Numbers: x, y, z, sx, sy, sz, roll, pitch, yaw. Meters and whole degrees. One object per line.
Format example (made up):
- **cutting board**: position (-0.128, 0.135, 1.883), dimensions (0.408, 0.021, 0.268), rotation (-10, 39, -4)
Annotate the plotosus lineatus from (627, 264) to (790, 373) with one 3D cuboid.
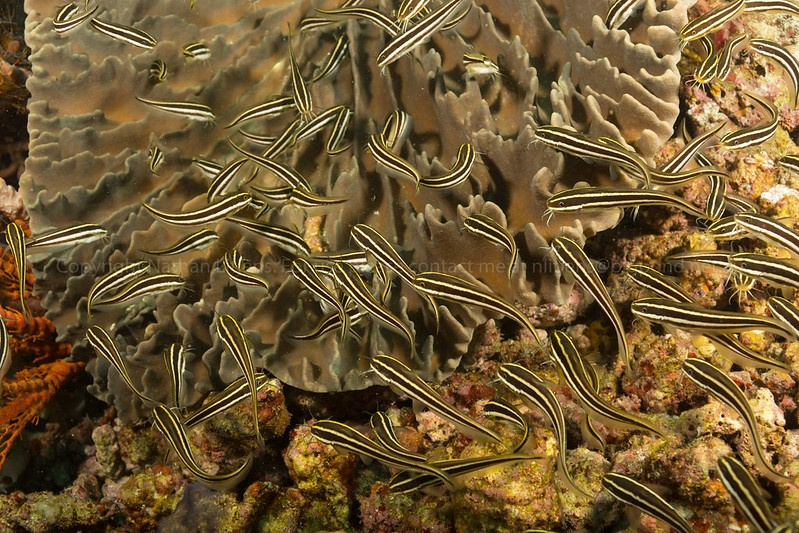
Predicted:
- **plotosus lineatus**: position (3.580, 0.597, 12.010), dimensions (0.338, 1.309, 0.495), rotation (-53, 17, -3)
